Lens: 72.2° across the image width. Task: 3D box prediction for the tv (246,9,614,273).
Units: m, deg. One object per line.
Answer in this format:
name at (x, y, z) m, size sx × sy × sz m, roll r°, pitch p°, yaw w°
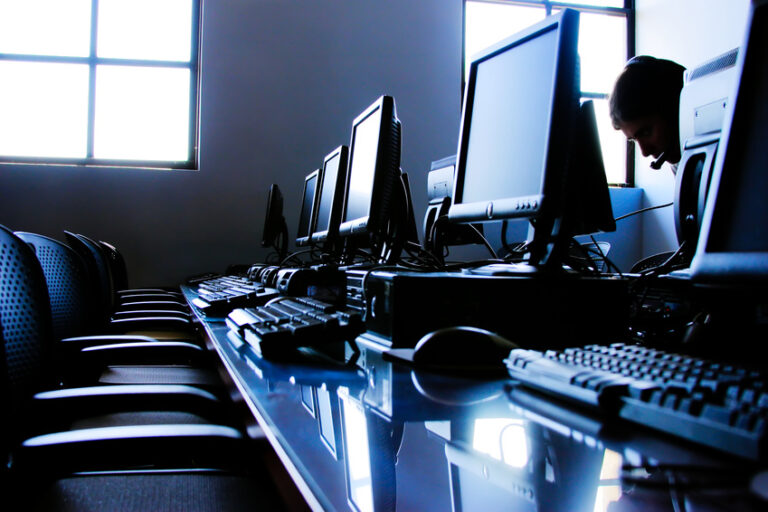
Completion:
tv at (0.397, -0.320, 1.443) m, size 0.450 × 0.588 × 0.404 m, roll -17°, pitch 16°, yaw -38°
